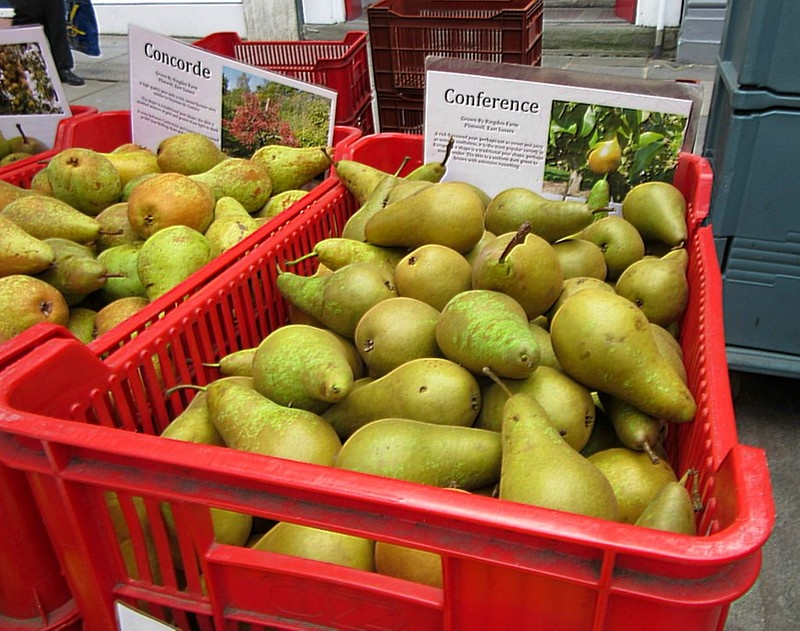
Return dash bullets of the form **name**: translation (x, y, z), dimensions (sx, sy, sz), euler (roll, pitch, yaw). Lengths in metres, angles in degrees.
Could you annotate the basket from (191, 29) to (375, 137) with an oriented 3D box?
- **basket**: translation (-0.462, -0.900, 2.690), dimensions (0.605, 0.367, 0.605), euler (7, 43, 6)
